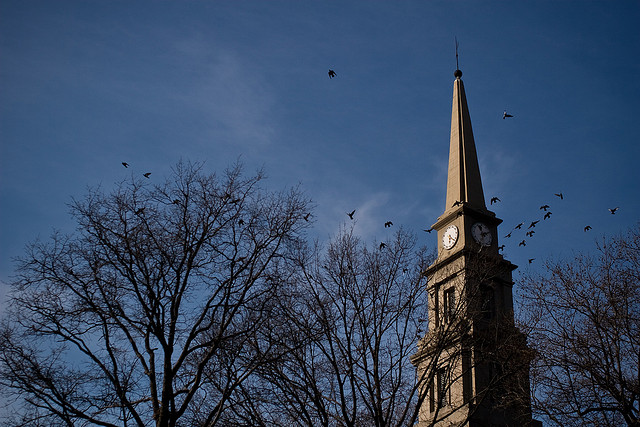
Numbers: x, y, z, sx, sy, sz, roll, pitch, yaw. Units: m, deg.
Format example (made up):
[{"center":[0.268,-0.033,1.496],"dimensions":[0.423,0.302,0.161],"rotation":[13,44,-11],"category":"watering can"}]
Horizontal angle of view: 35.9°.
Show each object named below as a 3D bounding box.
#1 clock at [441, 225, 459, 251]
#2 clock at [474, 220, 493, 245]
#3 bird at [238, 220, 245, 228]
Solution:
[{"center":[8.749,1.661,65.961],"dimensions":[0.178,1.347,1.296],"rotation":[25,-42,-20],"category":"clock"},{"center":[10.887,1.325,65.925],"dimensions":[1.373,1.369,0.079],"rotation":[27,-42,-26],"category":"clock"},{"center":[-1.864,0.208,23.155],"dimensions":[0.124,0.155,0.117],"rotation":[-11,-31,16],"category":"bird"}]
